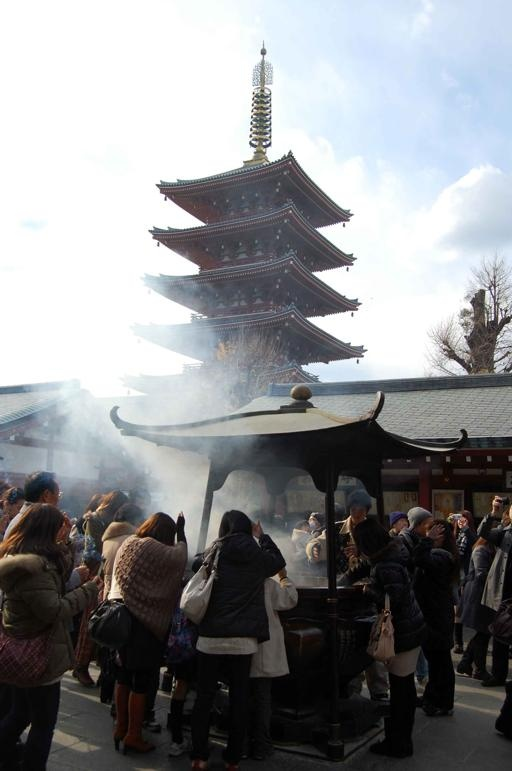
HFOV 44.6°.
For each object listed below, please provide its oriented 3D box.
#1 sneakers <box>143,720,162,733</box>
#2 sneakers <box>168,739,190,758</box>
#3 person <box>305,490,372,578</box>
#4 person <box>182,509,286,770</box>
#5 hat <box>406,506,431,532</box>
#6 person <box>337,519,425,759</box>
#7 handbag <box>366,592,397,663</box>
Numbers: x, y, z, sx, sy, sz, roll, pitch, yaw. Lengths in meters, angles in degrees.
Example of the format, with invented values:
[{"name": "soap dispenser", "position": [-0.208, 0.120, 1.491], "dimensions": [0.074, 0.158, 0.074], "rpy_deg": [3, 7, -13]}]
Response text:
[{"name": "sneakers", "position": [-0.679, 2.273, 4.150], "dimensions": [0.043, 0.053, 0.124], "rpy_deg": [18, -13, -35]}, {"name": "sneakers", "position": [-0.470, 2.185, 3.755], "dimensions": [0.059, 0.057, 0.161], "rpy_deg": [17, -26, 19]}, {"name": "person", "position": [0.776, 1.222, 5.135], "dimensions": [0.656, 0.848, 0.335], "rpy_deg": [7, 23, 0]}, {"name": "person", "position": [-0.124, 1.438, 3.472], "dimensions": [0.503, 1.443, 0.338], "rpy_deg": [5, -8, 0]}, {"name": "hat", "position": [1.284, 1.074, 4.994], "dimensions": [0.220, 0.200, 0.162], "rpy_deg": [-1, 1, 8]}, {"name": "person", "position": [0.814, 1.566, 3.856], "dimensions": [0.320, 1.449, 0.511], "rpy_deg": [-1, -10, 39]}, {"name": "handbag", "position": [0.759, 1.442, 3.727], "dimensions": [0.168, 0.364, 0.165], "rpy_deg": [6, -8, -12]}]
